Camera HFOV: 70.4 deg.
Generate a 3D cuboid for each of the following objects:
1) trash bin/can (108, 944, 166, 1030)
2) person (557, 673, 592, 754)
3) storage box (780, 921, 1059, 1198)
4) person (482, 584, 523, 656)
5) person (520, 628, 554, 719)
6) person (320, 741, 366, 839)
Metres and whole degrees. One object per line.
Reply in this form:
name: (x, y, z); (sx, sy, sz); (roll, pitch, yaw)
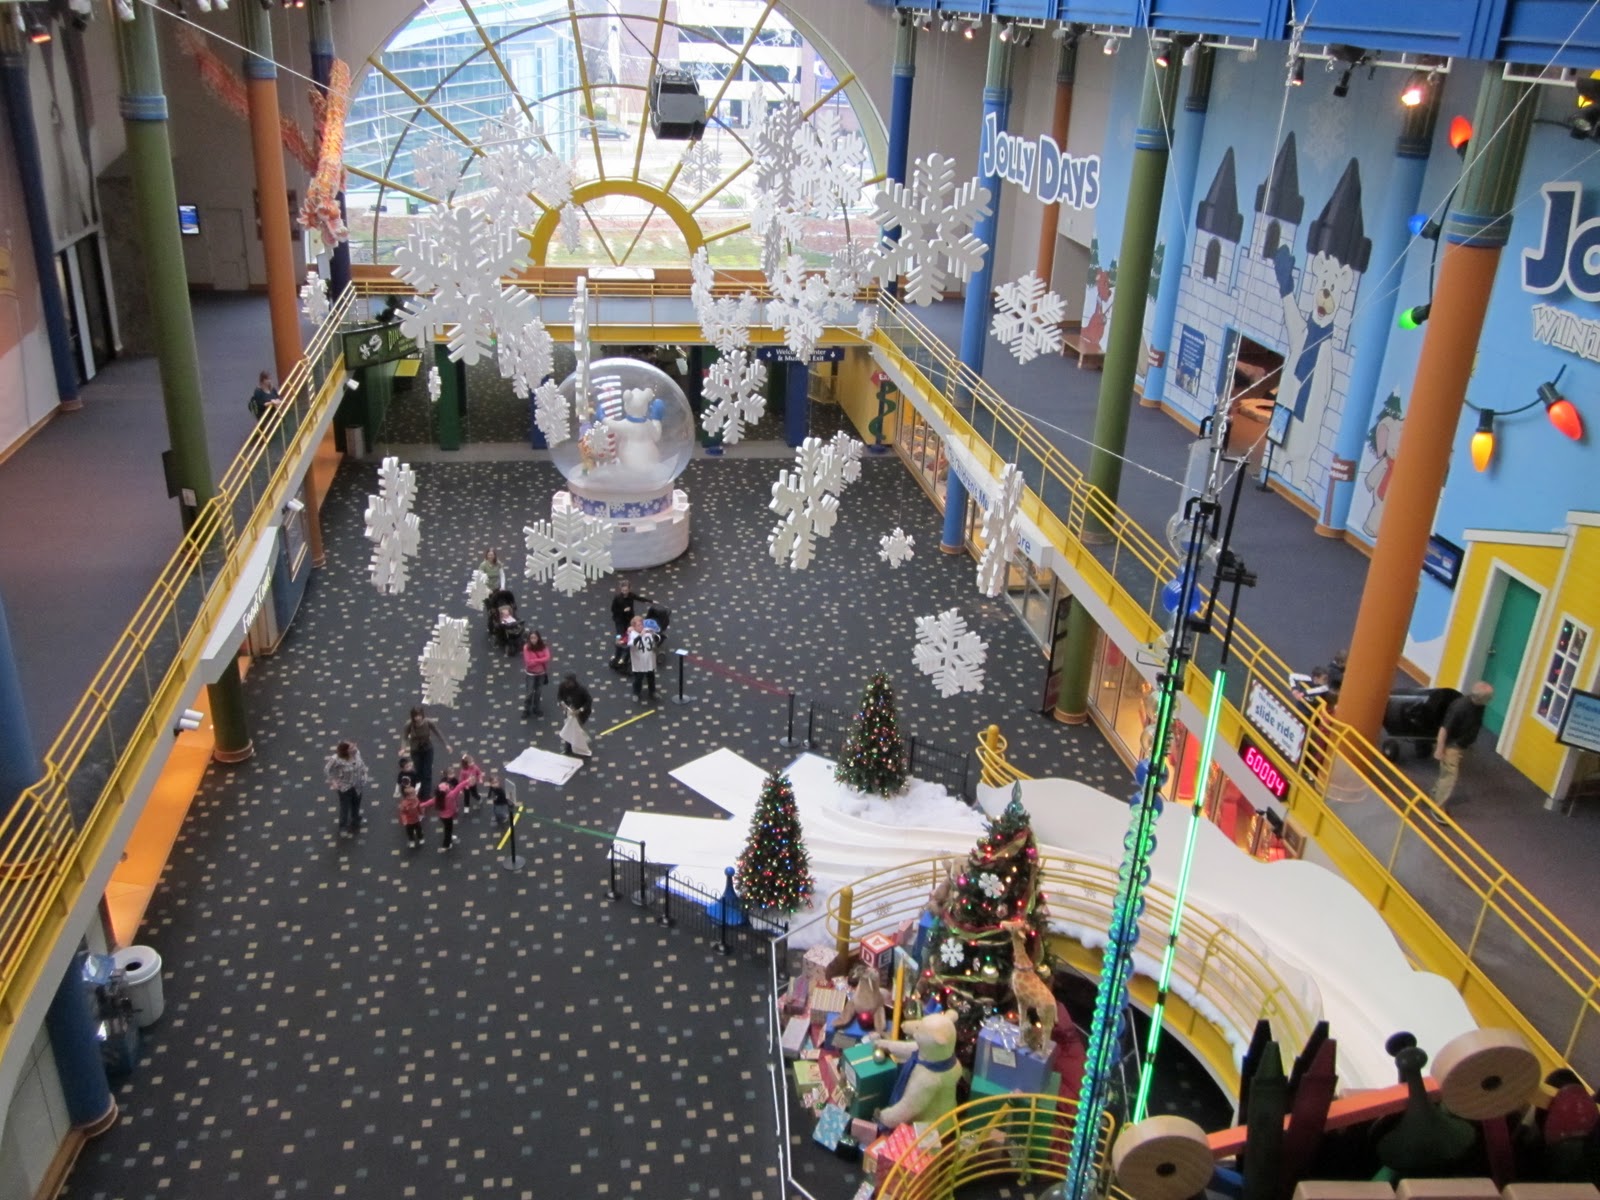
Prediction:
trash bin/can: (-7.080, 4.164, 12.109); (0.591, 0.687, 0.521); (9, 28, 9)
person: (-3.319, 1.594, 16.801); (0.459, 1.086, 1.057); (-3, 25, -11)
storage box: (1.249, 4.702, 11.724); (2.195, 1.582, 2.442); (-10, 36, -12)
person: (-4.889, 0.354, 18.891); (0.494, 0.915, 1.172); (-9, 27, -23)
person: (-4.086, 1.107, 17.567); (0.392, 1.126, 0.841); (-4, 25, -14)
person: (-5.953, 2.408, 14.946); (0.390, 1.308, 0.482); (-10, 26, -26)
